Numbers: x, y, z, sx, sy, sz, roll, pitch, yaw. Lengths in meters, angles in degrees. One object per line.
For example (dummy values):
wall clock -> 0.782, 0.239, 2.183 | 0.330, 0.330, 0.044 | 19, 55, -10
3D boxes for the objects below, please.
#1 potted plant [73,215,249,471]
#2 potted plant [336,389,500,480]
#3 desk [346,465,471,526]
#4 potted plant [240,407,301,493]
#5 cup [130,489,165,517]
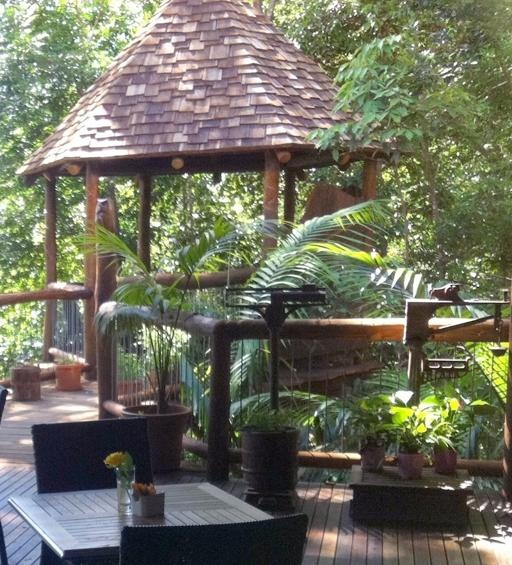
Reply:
potted plant -> -0.820, 0.309, 4.888 | 0.852, 1.326, 1.495 | 7, 21, 29
potted plant -> 0.930, 0.770, 3.553 | 0.596, 0.307, 0.635 | 0, 4, -11
desk -> 0.817, 1.162, 3.380 | 0.624, 0.226, 0.292 | 1, 4, 10
potted plant -> 0.082, 0.939, 3.635 | 0.308, 0.458, 0.315 | -1, 4, -1
cup -> -0.353, 0.731, 2.055 | 0.068, 0.095, 0.127 | -7, -9, 33
